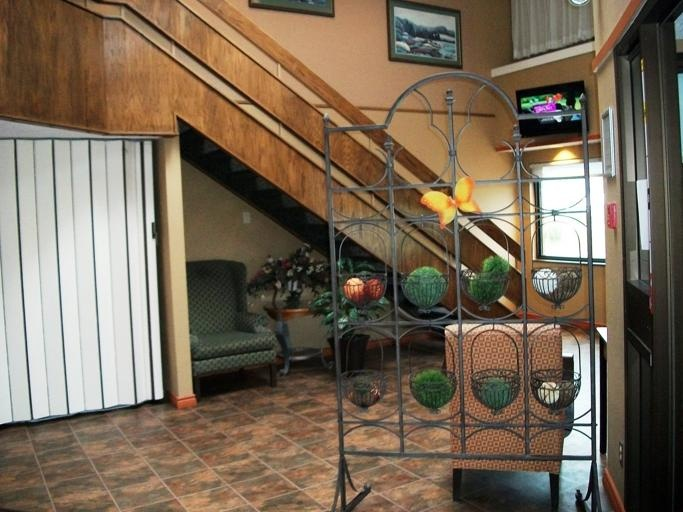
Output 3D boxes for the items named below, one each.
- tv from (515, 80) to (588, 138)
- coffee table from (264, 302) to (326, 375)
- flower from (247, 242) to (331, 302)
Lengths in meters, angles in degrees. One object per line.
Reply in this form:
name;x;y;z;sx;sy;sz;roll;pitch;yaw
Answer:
tv;2.990;-2.054;8.656;0.963;0.730;0.110;3;10;32
coffee table;-0.516;0.872;6.783;0.704;0.799;0.747;-2;5;-17
flower;-0.606;0.217;6.723;0.759;0.554;0.582;-3;12;-10
